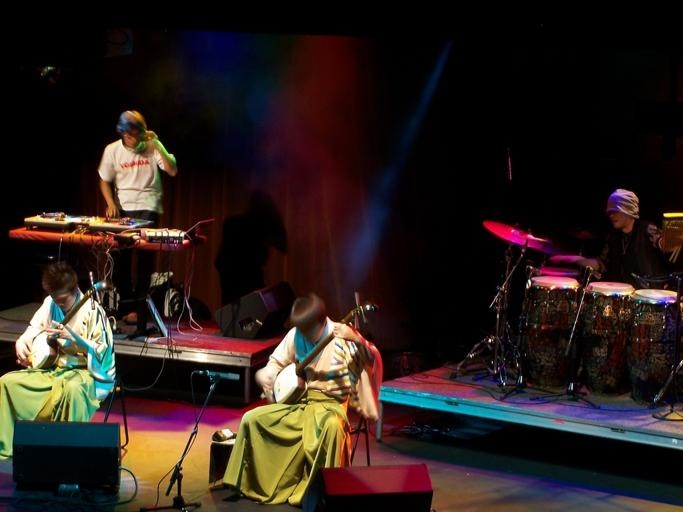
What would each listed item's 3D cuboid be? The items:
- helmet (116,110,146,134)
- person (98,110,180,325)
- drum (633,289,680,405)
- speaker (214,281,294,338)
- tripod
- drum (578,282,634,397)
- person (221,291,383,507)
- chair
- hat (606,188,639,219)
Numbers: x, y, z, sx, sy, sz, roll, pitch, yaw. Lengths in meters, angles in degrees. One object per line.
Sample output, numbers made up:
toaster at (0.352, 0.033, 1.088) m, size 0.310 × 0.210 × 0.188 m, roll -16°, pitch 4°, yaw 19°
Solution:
helmet at (-2.011, -1.282, 5.894) m, size 0.203 × 0.243 × 0.274 m, roll 9°, pitch 22°, yaw 30°
person at (-2.031, -0.369, 6.024) m, size 0.642 × 2.083 × 1.100 m, roll -6°, pitch 11°, yaw -41°
drum at (2.381, 0.692, 4.692) m, size 0.332 × 0.850 × 0.156 m, roll 6°, pitch 10°, yaw 27°
speaker at (-0.824, 0.533, 5.958) m, size 0.523 × 0.447 × 0.659 m, roll 6°, pitch 3°, yaw 20°
tripod at (1.527, 0.524, 5.352) m, size 1.013 × 1.627 × 0.961 m, roll 5°, pitch 6°, yaw 8°
drum at (2.091, 0.651, 4.860) m, size 0.367 × 0.870 × 0.208 m, roll 5°, pitch 9°, yaw 21°
person at (-0.246, 0.936, 4.077) m, size 0.931 × 1.339 × 0.594 m, roll 4°, pitch 9°, yaw 17°
chair at (0.084, 0.967, 4.196) m, size 0.331 × 1.013 × 0.303 m, roll 0°, pitch 8°, yaw -7°
hat at (2.420, -0.442, 5.226) m, size 0.253 × 0.241 × 0.177 m, roll 5°, pitch 9°, yaw 19°
